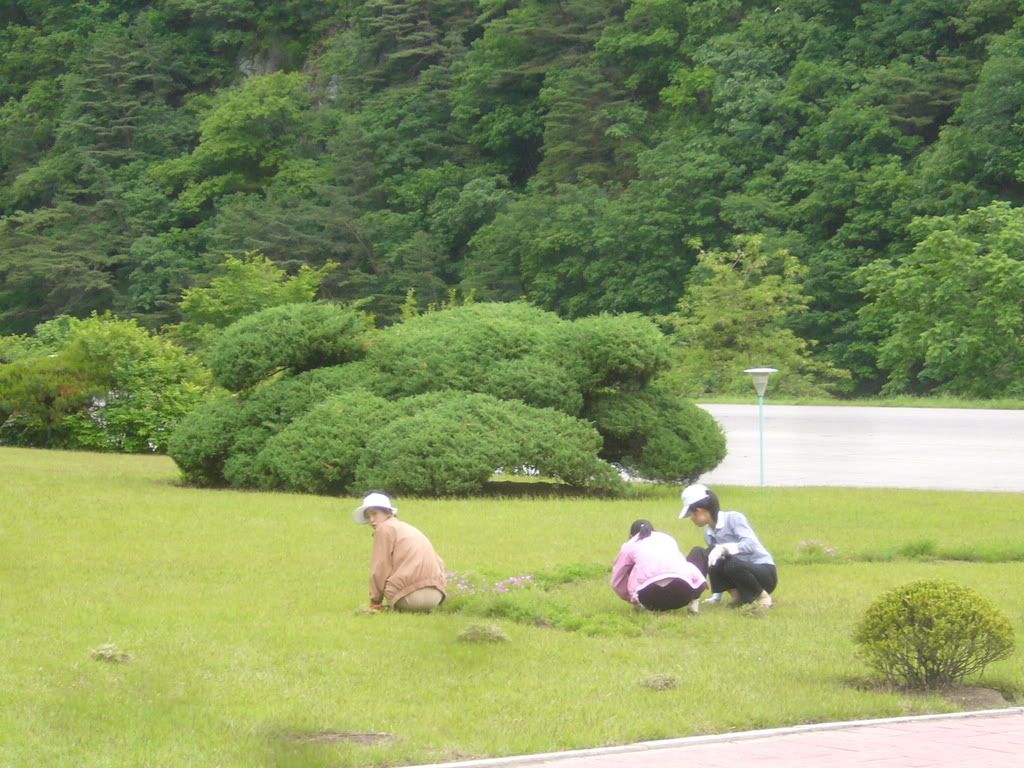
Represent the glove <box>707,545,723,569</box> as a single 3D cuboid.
[{"bbox_3d":[4.828,4.030,51.099,0.301,0.483,0.123,16,-1,6],"label":"glove"}]
